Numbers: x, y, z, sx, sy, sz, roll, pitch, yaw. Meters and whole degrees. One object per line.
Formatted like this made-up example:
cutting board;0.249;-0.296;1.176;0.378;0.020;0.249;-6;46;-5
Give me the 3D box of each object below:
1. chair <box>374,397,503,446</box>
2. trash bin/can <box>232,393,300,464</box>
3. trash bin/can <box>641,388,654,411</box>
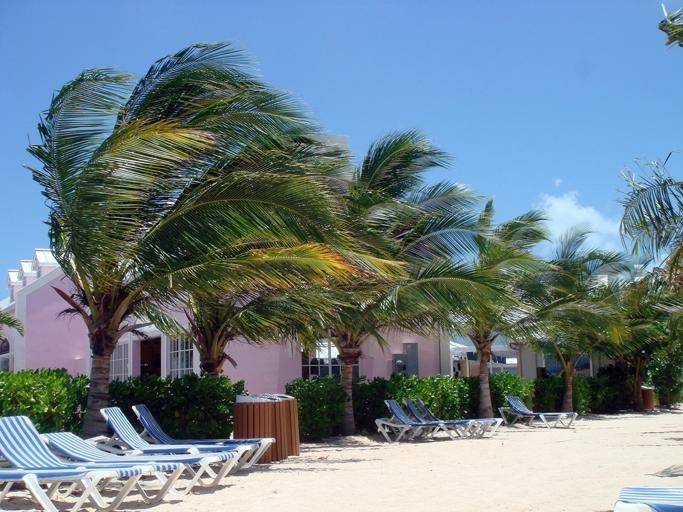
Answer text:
chair;2.129;4.045;17.432;3.125;1.074;1.893;4;-14;-32
trash bin/can;-1.436;3.229;13.382;1.341;1.273;1.210;-2;-7;9
trash bin/can;12.250;5.675;27.894;0.469;0.905;1.186;-9;-13;23
